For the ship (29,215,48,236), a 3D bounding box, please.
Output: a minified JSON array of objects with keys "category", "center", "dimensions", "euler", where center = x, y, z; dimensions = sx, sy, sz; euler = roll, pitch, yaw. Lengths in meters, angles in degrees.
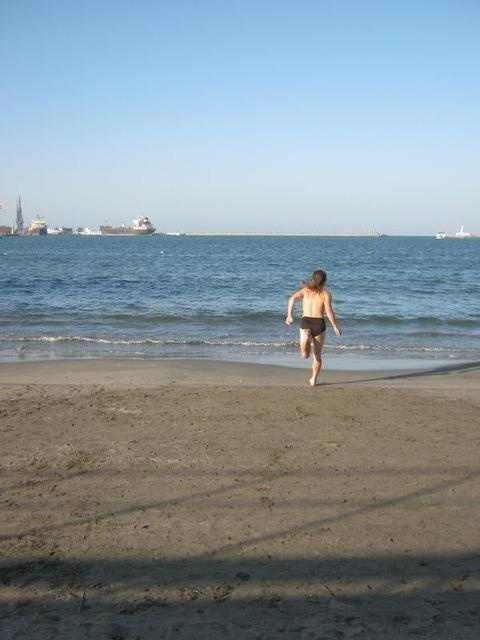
[{"category":"ship","center":[-63.457,-28.954,217.604],"dimensions":[4.857,4.368,10.746],"euler":[-3,9,-18]}]
